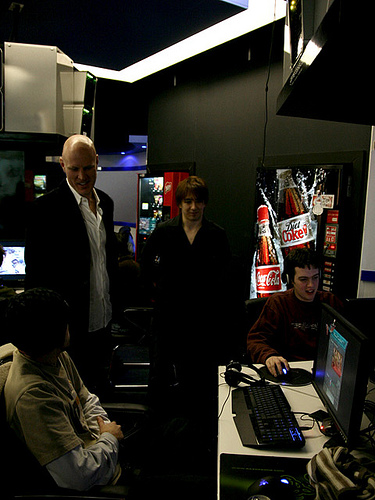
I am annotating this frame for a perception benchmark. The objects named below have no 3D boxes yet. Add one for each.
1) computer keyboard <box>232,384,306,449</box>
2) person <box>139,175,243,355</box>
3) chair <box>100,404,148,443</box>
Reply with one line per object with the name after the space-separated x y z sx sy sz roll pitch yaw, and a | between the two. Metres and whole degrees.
0.264 0.574 1.443 0.207 0.032 0.424 -1 5 1 | computer keyboard
0.007 0.063 2.542 0.657 1.106 1.027 -2 5 -2 | person
-0.266 0.699 1.639 0.172 0.175 0.115 6 7 -24 | chair
